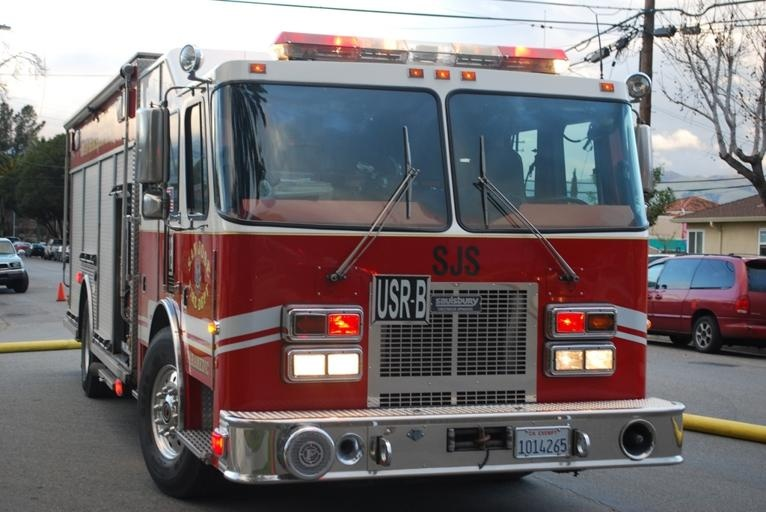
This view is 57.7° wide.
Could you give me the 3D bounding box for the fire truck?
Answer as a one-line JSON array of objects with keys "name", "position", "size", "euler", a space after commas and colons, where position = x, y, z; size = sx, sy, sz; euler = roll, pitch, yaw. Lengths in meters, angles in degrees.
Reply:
[{"name": "fire truck", "position": [-0.923, 0.068, 7.775], "size": [2.974, 2.795, 6.333], "euler": [1, -3, -23]}]
